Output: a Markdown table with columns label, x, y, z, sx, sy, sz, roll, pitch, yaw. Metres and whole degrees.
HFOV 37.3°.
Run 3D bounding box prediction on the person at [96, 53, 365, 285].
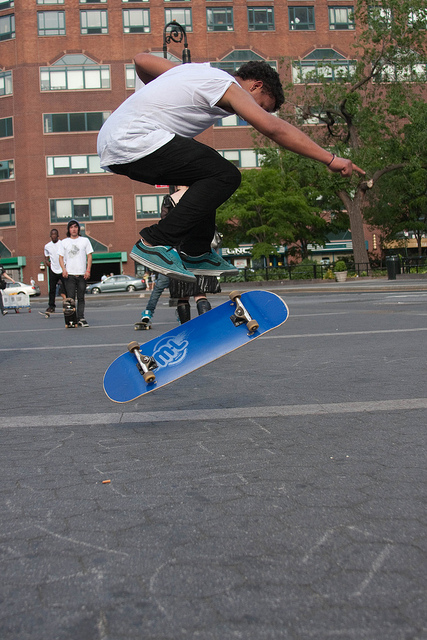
| label | x | y | z | sx | sy | sz | roll | pitch | yaw |
| --- | --- | --- | --- | --- | --- | --- | --- | --- | --- |
| person | -0.009 | -0.884 | 3.562 | 1.641 | 1.194 | 1.027 | 13 | 18 | 41 |

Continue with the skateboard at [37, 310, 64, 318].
| label | x | y | z | sx | sy | sz | roll | pitch | yaw |
| --- | --- | --- | --- | --- | --- | --- | --- | --- | --- |
| skateboard | -4.264 | -0.145 | 16.500 | 0.197 | 0.114 | 0.666 | 7 | 9 | 23 |

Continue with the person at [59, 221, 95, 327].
| label | x | y | z | sx | sy | sz | roll | pitch | yaw |
| --- | --- | --- | --- | --- | --- | --- | --- | --- | --- |
| person | -2.433 | -0.827 | 11.221 | 0.590 | 1.846 | 0.945 | -3 | 3 | -13 |

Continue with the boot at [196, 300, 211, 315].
| label | x | y | z | sx | sy | sz | roll | pitch | yaw |
| --- | --- | --- | --- | --- | --- | --- | --- | --- | --- |
| boot | -0.064 | -0.062 | 3.858 | 0.081 | 0.075 | 0.079 | -8 | 34 | 0 |

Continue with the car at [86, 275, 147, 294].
| label | x | y | z | sx | sy | sz | roll | pitch | yaw |
| --- | --- | --- | --- | --- | --- | --- | --- | --- | --- |
| car | -6.799 | -2.418 | 44.539 | 3.937 | 1.171 | 1.571 | 0 | 0 | -4 |
